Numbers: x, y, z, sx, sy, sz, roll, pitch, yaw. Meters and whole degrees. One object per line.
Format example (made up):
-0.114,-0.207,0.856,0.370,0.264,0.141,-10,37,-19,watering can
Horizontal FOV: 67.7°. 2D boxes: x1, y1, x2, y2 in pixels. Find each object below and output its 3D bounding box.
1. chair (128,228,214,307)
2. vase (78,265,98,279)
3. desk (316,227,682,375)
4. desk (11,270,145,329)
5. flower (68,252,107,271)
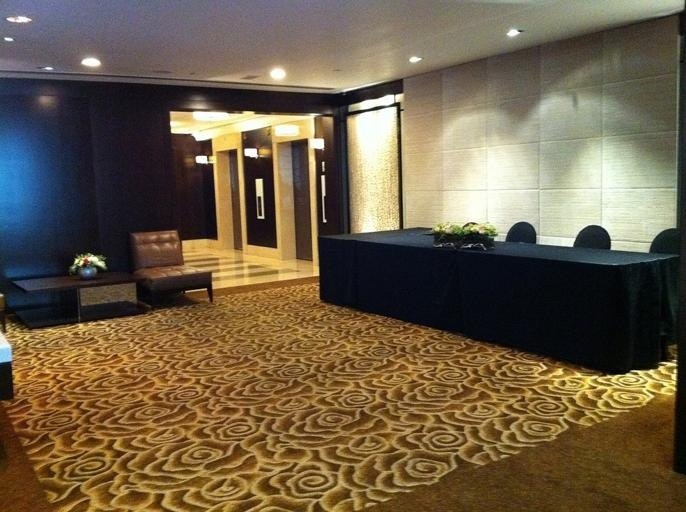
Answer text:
-2.599,0.085,8.090,1.313,1.016,1.596,-5,8,-33,chair
-3.628,0.210,7.263,0.248,0.203,0.252,-8,12,-26,vase
1.396,0.331,6.087,0.889,1.010,4.287,-13,14,-39,desk
-3.732,0.564,7.276,1.641,0.543,1.232,-7,11,-27,desk
-3.653,0.087,7.397,0.494,0.193,0.455,0,4,-35,flower
